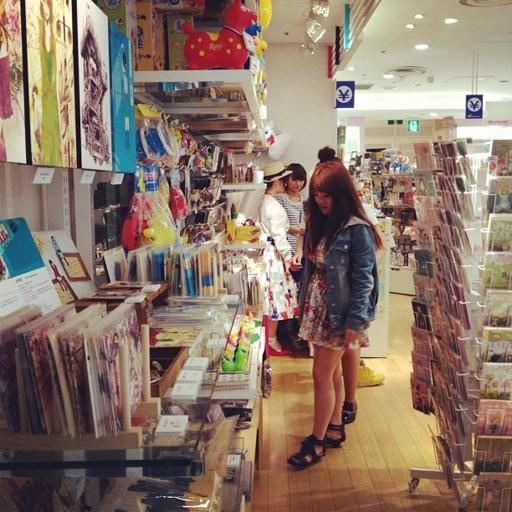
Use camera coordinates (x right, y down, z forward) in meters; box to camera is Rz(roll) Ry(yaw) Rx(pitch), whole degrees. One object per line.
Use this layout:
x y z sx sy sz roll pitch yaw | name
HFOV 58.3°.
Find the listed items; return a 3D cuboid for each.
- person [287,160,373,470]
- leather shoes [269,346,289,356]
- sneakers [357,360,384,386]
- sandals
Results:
0.484 0.365 2.801 0.509 1.891 0.516 3 7 23 | person
0.230 1.013 4.830 0.149 0.057 0.119 1 0 -11 | leather shoes
1.038 1.079 4.125 0.272 0.133 0.274 -7 9 -37 | sneakers
0.438 1.200 3.120 0.202 0.307 0.644 -1 1 37 | sandals
